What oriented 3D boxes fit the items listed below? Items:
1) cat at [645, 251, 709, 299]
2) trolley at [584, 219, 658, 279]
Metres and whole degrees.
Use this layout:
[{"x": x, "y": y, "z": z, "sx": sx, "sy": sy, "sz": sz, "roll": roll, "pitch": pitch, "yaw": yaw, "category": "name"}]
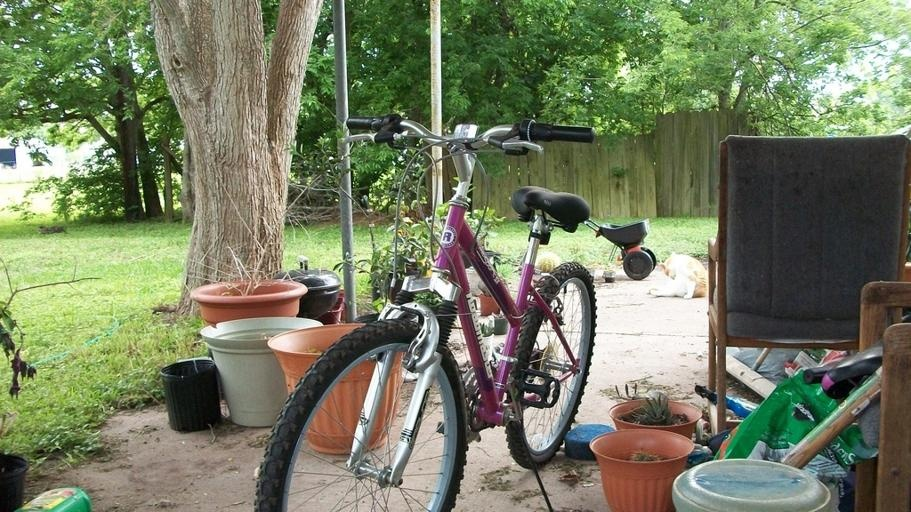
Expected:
[{"x": 3.089, "y": 0.269, "z": 9.689, "sx": 1.084, "sy": 0.428, "sz": 0.360, "roll": 8, "pitch": 12, "yaw": -20, "category": "cat"}, {"x": 2.203, "y": -0.227, "z": 10.500, "sx": 1.345, "sy": 0.755, "sz": 0.604, "roll": 12, "pitch": 26, "yaw": 25, "category": "trolley"}]
